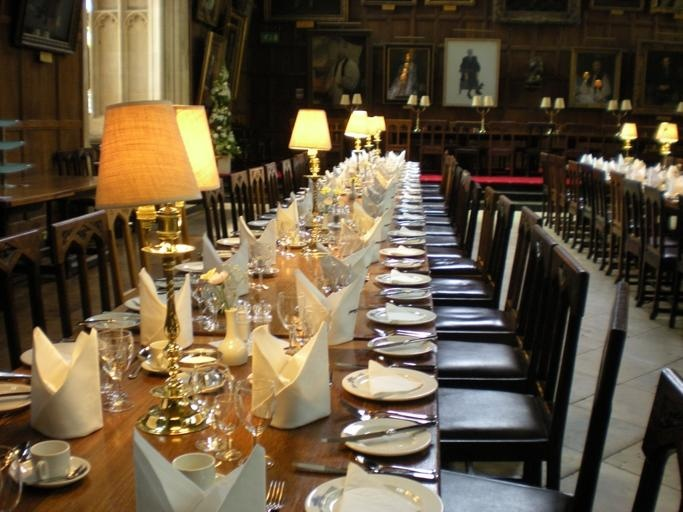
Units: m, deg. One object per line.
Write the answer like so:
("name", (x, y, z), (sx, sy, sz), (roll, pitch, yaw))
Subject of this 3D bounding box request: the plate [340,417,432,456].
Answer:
("plate", (0.076, 0.418, 1.227), (0.189, 0.027, 0.198), (5, -33, -27))

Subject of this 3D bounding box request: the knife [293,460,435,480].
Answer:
("knife", (0.043, 0.467, 1.153), (0.245, 0.031, 0.032), (4, 14, 2))

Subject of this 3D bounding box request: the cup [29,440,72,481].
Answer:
("cup", (-0.621, 0.442, 1.121), (0.065, 0.071, 0.087), (4, 1, -12))

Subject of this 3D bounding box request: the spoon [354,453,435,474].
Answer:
("spoon", (0.116, 0.466, 1.186), (0.165, 0.034, 0.035), (-1, 15, 2))

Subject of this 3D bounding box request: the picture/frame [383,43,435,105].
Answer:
("picture/frame", (1.833, -5.050, 14.553), (1.253, 1.461, 0.170), (1, 12, 6))

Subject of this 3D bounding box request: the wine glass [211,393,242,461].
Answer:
("wine glass", (-0.268, 0.366, 1.226), (0.055, 0.177, 0.181), (-4, 12, -15))

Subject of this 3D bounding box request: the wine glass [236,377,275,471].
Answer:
("wine glass", (-0.197, 0.360, 1.225), (0.084, 0.190, 0.178), (-2, 12, -9))

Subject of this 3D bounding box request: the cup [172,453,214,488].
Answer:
("cup", (-0.282, 0.407, 1.016), (0.060, 0.053, 0.086), (-10, 15, -39))

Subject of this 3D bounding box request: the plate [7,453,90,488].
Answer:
("plate", (-0.611, 0.463, 1.126), (0.130, 0.035, 0.138), (9, 1, -6))
